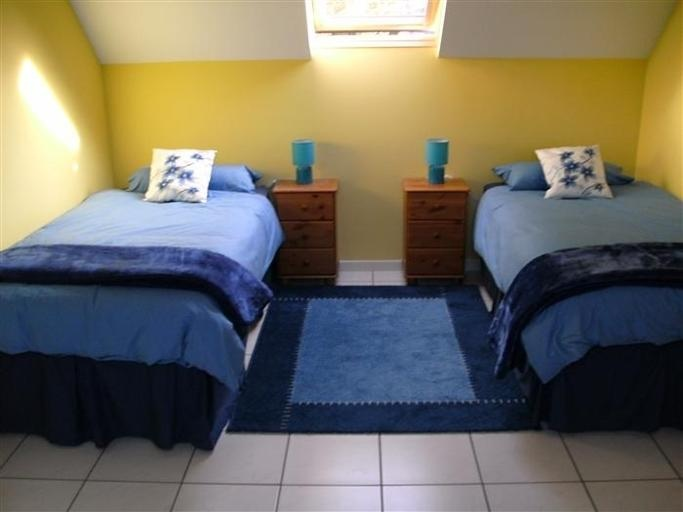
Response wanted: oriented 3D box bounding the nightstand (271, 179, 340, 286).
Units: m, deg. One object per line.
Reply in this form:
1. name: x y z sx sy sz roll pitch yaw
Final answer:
1. nightstand: -0.286 -0.197 4.386 0.573 0.798 0.544 -3 16 -8

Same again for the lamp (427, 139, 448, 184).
1. lamp: 0.764 -0.757 4.128 0.169 0.342 0.113 2 23 8

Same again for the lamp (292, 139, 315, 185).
1. lamp: -0.308 -0.790 4.245 0.167 0.340 0.263 -1 23 0

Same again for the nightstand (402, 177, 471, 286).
1. nightstand: 0.805 -0.225 4.355 0.639 0.835 0.656 -10 22 -16
